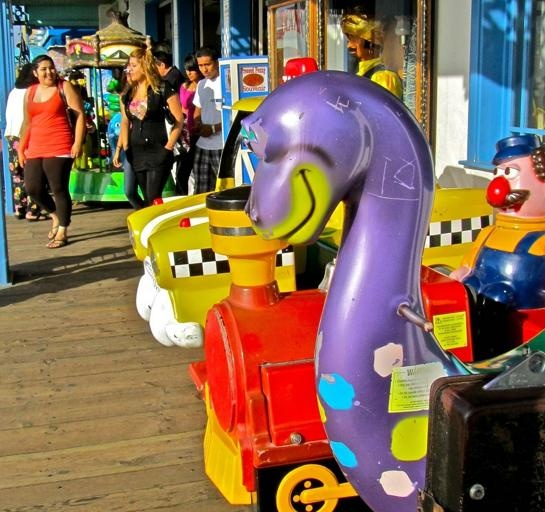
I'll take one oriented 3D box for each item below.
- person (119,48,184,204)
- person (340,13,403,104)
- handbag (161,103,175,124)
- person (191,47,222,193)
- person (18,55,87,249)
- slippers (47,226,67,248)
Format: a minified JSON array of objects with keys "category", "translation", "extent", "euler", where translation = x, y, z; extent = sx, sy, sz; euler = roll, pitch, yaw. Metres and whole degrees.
[{"category":"person","translation":[-1.111,-1.146,5.382],"extent":[0.508,1.422,0.685],"euler":[-6,14,-17]},{"category":"person","translation":[0.854,-1.694,5.104],"extent":[0.477,0.859,0.957],"euler":[-5,22,-4]},{"category":"handbag","translation":[-0.914,-1.234,5.124],"extent":[0.067,0.211,0.060],"euler":[-8,-8,3]},{"category":"person","translation":[-0.752,-1.528,6.584],"extent":[0.356,1.606,0.969],"euler":[-3,13,-5]},{"category":"person","translation":[-2.304,-1.070,6.161],"extent":[0.563,1.997,0.858],"euler":[-12,16,-38]},{"category":"slippers","translation":[-2.374,-0.195,6.481],"extent":[0.122,0.156,0.373],"euler":[1,5,4]}]
